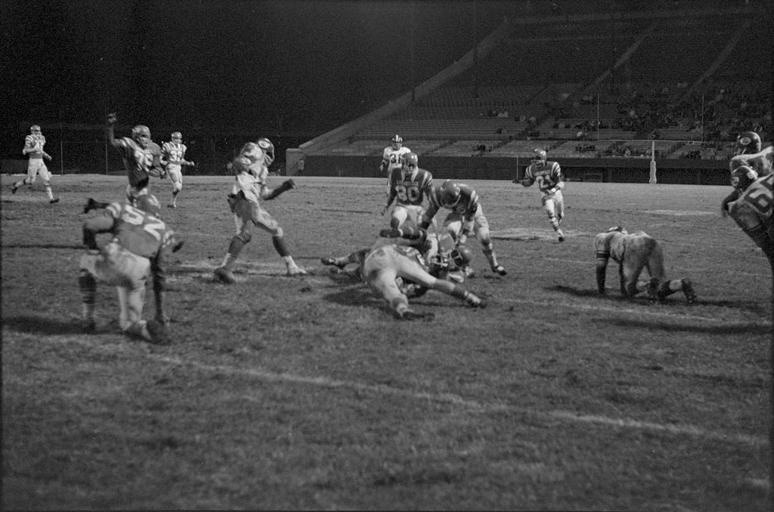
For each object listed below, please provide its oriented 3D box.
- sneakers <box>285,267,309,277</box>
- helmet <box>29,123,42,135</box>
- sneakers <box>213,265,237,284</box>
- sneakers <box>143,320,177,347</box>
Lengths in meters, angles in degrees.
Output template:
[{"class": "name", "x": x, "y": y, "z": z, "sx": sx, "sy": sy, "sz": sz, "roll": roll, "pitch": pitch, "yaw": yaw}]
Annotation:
[{"class": "sneakers", "x": -1.631, "y": 0.283, "z": 13.879, "sx": 0.428, "sy": 0.187, "sz": 0.151, "roll": -4, "pitch": 10, "yaw": -22}, {"class": "helmet", "x": -10.390, "y": -3.738, "z": 22.470, "sx": 0.393, "sy": 0.374, "sz": 0.337, "roll": 3, "pitch": 10, "yaw": 2}, {"class": "sneakers", "x": -2.808, "y": 0.336, "z": 13.187, "sx": 0.359, "sy": 0.150, "sz": 0.278, "roll": 13, "pitch": 29, "yaw": 3}, {"class": "sneakers", "x": -3.219, "y": 1.104, "z": 10.820, "sx": 0.292, "sy": 0.161, "sz": 0.441, "roll": 14, "pitch": 12, "yaw": -24}]
